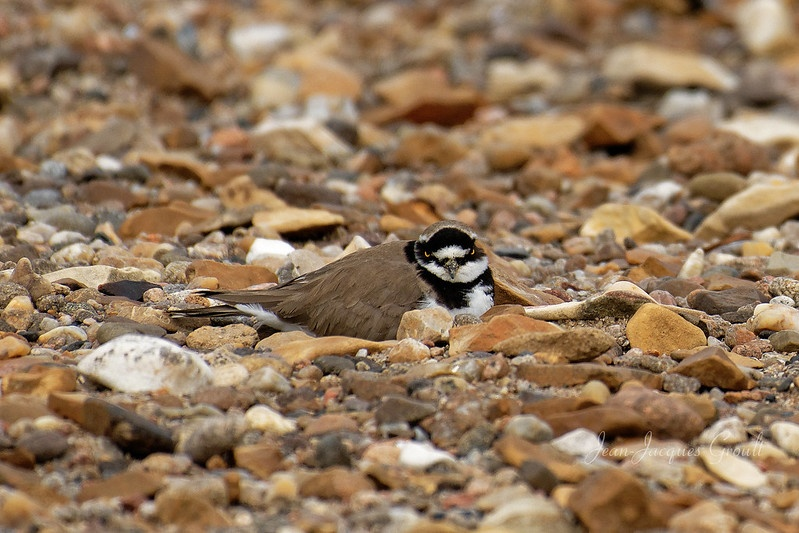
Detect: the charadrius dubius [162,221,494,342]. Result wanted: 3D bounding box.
[{"bbox_3d":[-0.226,0.216,6.785,1.715,0.308,0.669,-19,83,-1],"label":"charadrius dubius"}]
